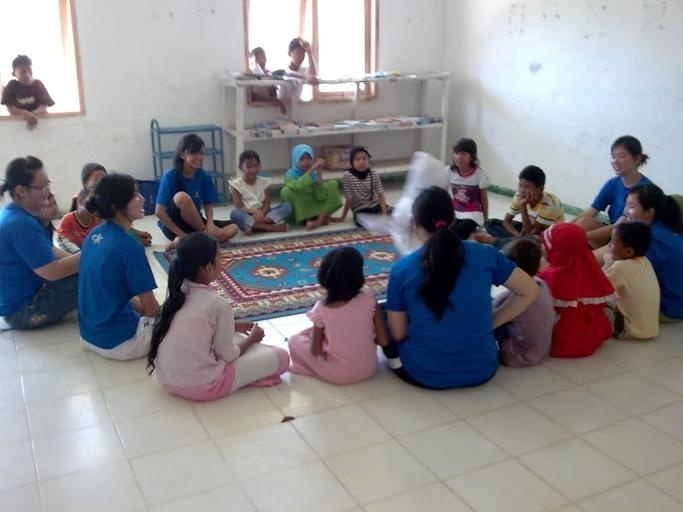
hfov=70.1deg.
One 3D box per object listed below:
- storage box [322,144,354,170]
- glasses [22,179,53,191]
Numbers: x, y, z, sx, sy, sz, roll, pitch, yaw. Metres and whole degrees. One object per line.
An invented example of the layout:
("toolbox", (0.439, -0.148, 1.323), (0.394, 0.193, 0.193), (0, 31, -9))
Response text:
("storage box", (-0.050, -1.149, 5.599), (0.313, 0.209, 0.313), (-7, 25, -20))
("glasses", (-1.656, -0.382, 2.668), (0.039, 0.053, 0.128), (6, 19, 21))
